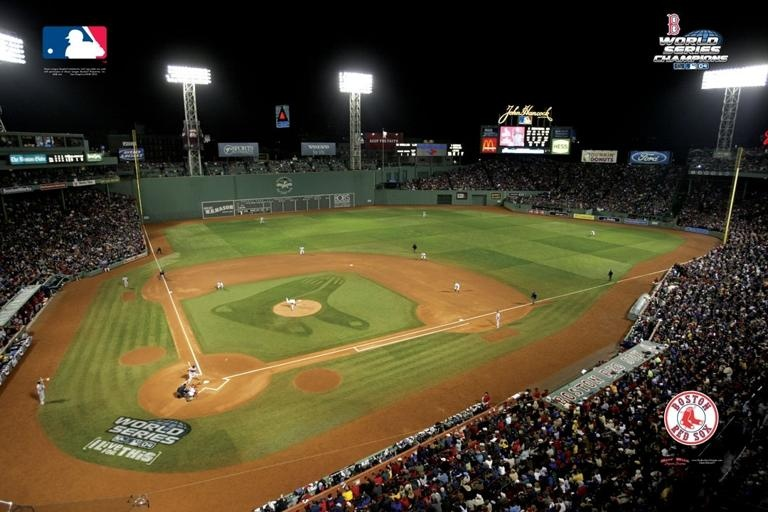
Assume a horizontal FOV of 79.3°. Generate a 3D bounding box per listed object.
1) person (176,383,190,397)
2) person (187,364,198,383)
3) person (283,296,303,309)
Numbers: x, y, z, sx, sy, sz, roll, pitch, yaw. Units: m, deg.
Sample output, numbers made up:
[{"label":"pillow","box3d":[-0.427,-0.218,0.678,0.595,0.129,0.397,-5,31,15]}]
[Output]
[{"label":"person","box3d":[-12.392,8.366,28.885,0.946,0.743,0.746,-8,-9,37]},{"label":"person","box3d":[-12.335,7.644,29.801,0.408,1.100,0.495,12,27,-7]},{"label":"person","box3d":[-7.868,3.978,39.494,0.861,0.297,1.120,17,17,40]}]
